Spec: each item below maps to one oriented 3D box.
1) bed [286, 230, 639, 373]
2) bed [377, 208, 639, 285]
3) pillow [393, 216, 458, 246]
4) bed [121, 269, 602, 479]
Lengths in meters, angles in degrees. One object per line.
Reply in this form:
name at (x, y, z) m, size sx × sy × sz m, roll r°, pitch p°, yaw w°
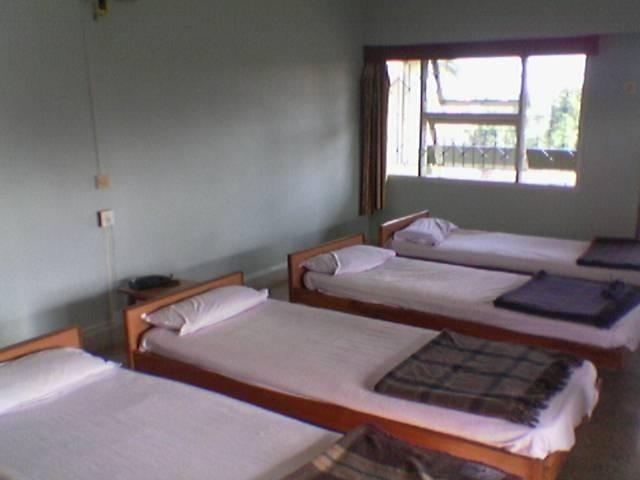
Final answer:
bed at (1.109, 0.487, 4.067) m, size 2.197 × 0.462 × 1.188 m, roll 9°, pitch 21°, yaw 31°
bed at (1.920, 0.124, 4.934) m, size 1.668 × 0.352 × 0.972 m, roll 7°, pitch 21°, yaw 25°
pillow at (1.225, -0.122, 5.490) m, size 0.387 × 0.151 × 0.492 m, roll 7°, pitch 18°, yaw 30°
bed at (0.076, 0.778, 3.120) m, size 2.788 × 0.571 × 1.278 m, roll 9°, pitch 17°, yaw 30°
